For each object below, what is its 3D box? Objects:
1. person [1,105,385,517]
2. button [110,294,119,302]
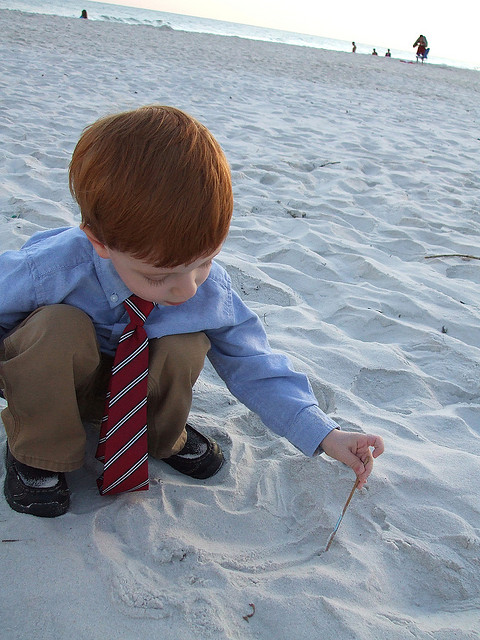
[{"bbox_3d":[-0.171,-0.003,1.492,0.794,0.959,0.437,4,30,-14],"label":"person"},{"bbox_3d":[-0.303,-0.051,1.478,0.016,0.016,0.006,4,19,6],"label":"button"}]
